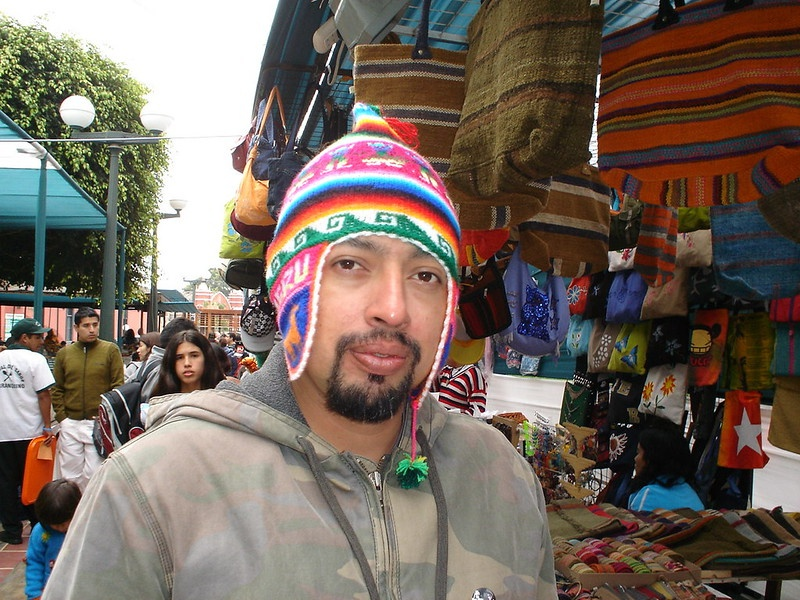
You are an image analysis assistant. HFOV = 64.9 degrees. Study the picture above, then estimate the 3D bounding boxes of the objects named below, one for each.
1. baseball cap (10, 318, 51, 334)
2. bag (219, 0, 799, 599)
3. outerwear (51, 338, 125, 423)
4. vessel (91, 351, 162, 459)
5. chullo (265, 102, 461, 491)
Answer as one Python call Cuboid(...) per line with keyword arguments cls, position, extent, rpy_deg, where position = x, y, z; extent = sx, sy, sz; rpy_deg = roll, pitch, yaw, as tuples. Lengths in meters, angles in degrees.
Cuboid(cls="baseball cap", position=(-4.345, 0.326, 7.450), extent=(0.348, 0.158, 0.240), rpy_deg=(3, -1, -22))
Cuboid(cls="bag", position=(0.448, 0.316, 2.870), extent=(1.668, 2.415, 1.266), rpy_deg=(6, -20, -14))
Cuboid(cls="outerwear", position=(-3.436, 0.916, 7.005), extent=(0.801, 1.145, 0.619), rpy_deg=(2, -31, -18))
Cuboid(cls="vessel", position=(-2.364, 1.003, 5.663), extent=(0.573, 1.035, 0.709), rpy_deg=(4, 0, -40))
Cuboid(cls="chullo", position=(-0.123, -0.040, 2.472), extent=(0.725, 1.489, 0.819), rpy_deg=(9, -12, -40))
